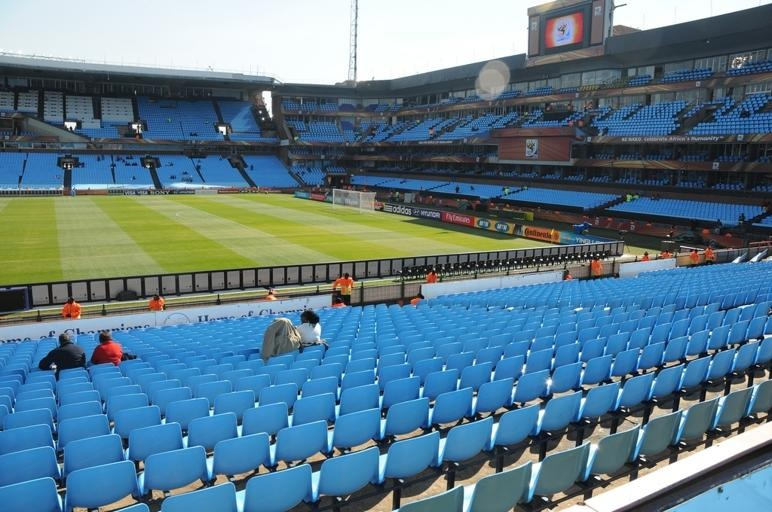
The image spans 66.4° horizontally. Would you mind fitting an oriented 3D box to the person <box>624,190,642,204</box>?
[{"bbox_3d":[19.585,-4.552,46.617,1.227,0.271,1.085,-23,29,-3],"label":"person"}]
